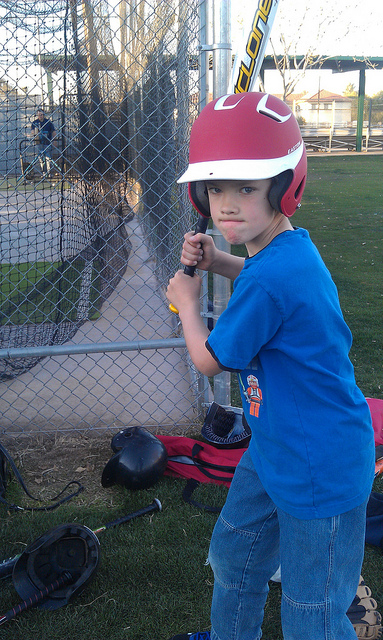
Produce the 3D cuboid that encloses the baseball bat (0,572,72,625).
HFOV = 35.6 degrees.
[{"bbox_3d":[-0.538,0.983,2.091,0.287,0.048,0.052,-25,-6,-33],"label":"baseball bat"}]

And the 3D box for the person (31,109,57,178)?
[{"bbox_3d":[-1.272,-1.528,5.167,0.206,0.560,1.270,-3,12,-12],"label":"person"}]

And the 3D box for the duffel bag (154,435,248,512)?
[{"bbox_3d":[0.018,0.749,2.997,0.643,0.174,0.343,10,26,12],"label":"duffel bag"}]
